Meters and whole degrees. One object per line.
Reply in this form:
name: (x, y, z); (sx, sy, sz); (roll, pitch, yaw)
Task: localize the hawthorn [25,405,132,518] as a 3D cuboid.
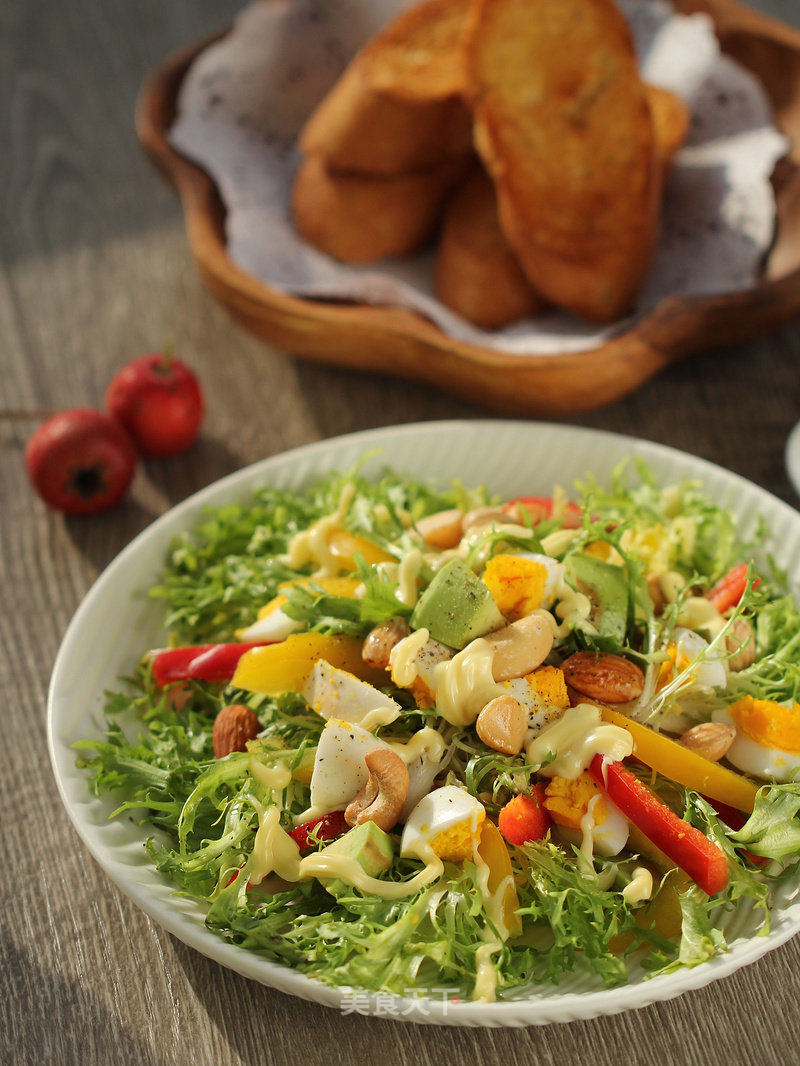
hawthorn: (-0.604, -0.133, 1.990); (0.219, 0.214, 0.186); (-9, 94, 15)
